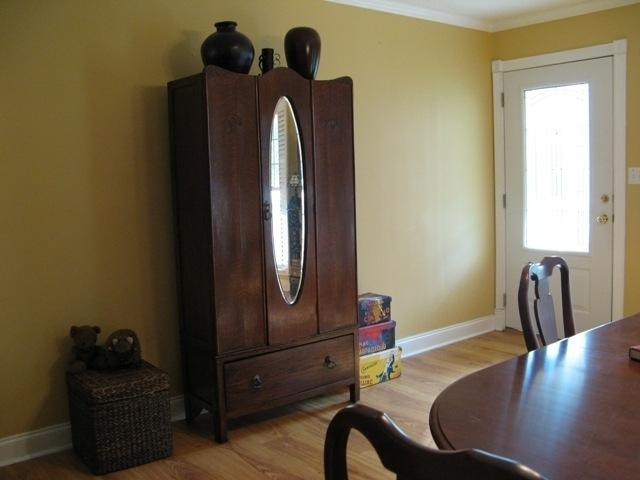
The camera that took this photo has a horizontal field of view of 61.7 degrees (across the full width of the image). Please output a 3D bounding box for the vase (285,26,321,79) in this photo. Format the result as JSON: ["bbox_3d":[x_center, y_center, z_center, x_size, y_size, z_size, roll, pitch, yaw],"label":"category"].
[{"bbox_3d":[-0.105,-1.234,3.528,0.222,0.343,0.218,-22,32,-34],"label":"vase"}]

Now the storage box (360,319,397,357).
[{"bbox_3d":[0.425,0.734,3.984,0.348,0.244,0.201,-10,13,-38],"label":"storage box"}]

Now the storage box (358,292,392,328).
[{"bbox_3d":[0.402,0.516,3.974,0.310,0.217,0.178,-6,9,-43],"label":"storage box"}]

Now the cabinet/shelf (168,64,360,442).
[{"bbox_3d":[-0.303,0.042,3.459,1.170,2.216,0.667,-5,15,-28],"label":"cabinet/shelf"}]
